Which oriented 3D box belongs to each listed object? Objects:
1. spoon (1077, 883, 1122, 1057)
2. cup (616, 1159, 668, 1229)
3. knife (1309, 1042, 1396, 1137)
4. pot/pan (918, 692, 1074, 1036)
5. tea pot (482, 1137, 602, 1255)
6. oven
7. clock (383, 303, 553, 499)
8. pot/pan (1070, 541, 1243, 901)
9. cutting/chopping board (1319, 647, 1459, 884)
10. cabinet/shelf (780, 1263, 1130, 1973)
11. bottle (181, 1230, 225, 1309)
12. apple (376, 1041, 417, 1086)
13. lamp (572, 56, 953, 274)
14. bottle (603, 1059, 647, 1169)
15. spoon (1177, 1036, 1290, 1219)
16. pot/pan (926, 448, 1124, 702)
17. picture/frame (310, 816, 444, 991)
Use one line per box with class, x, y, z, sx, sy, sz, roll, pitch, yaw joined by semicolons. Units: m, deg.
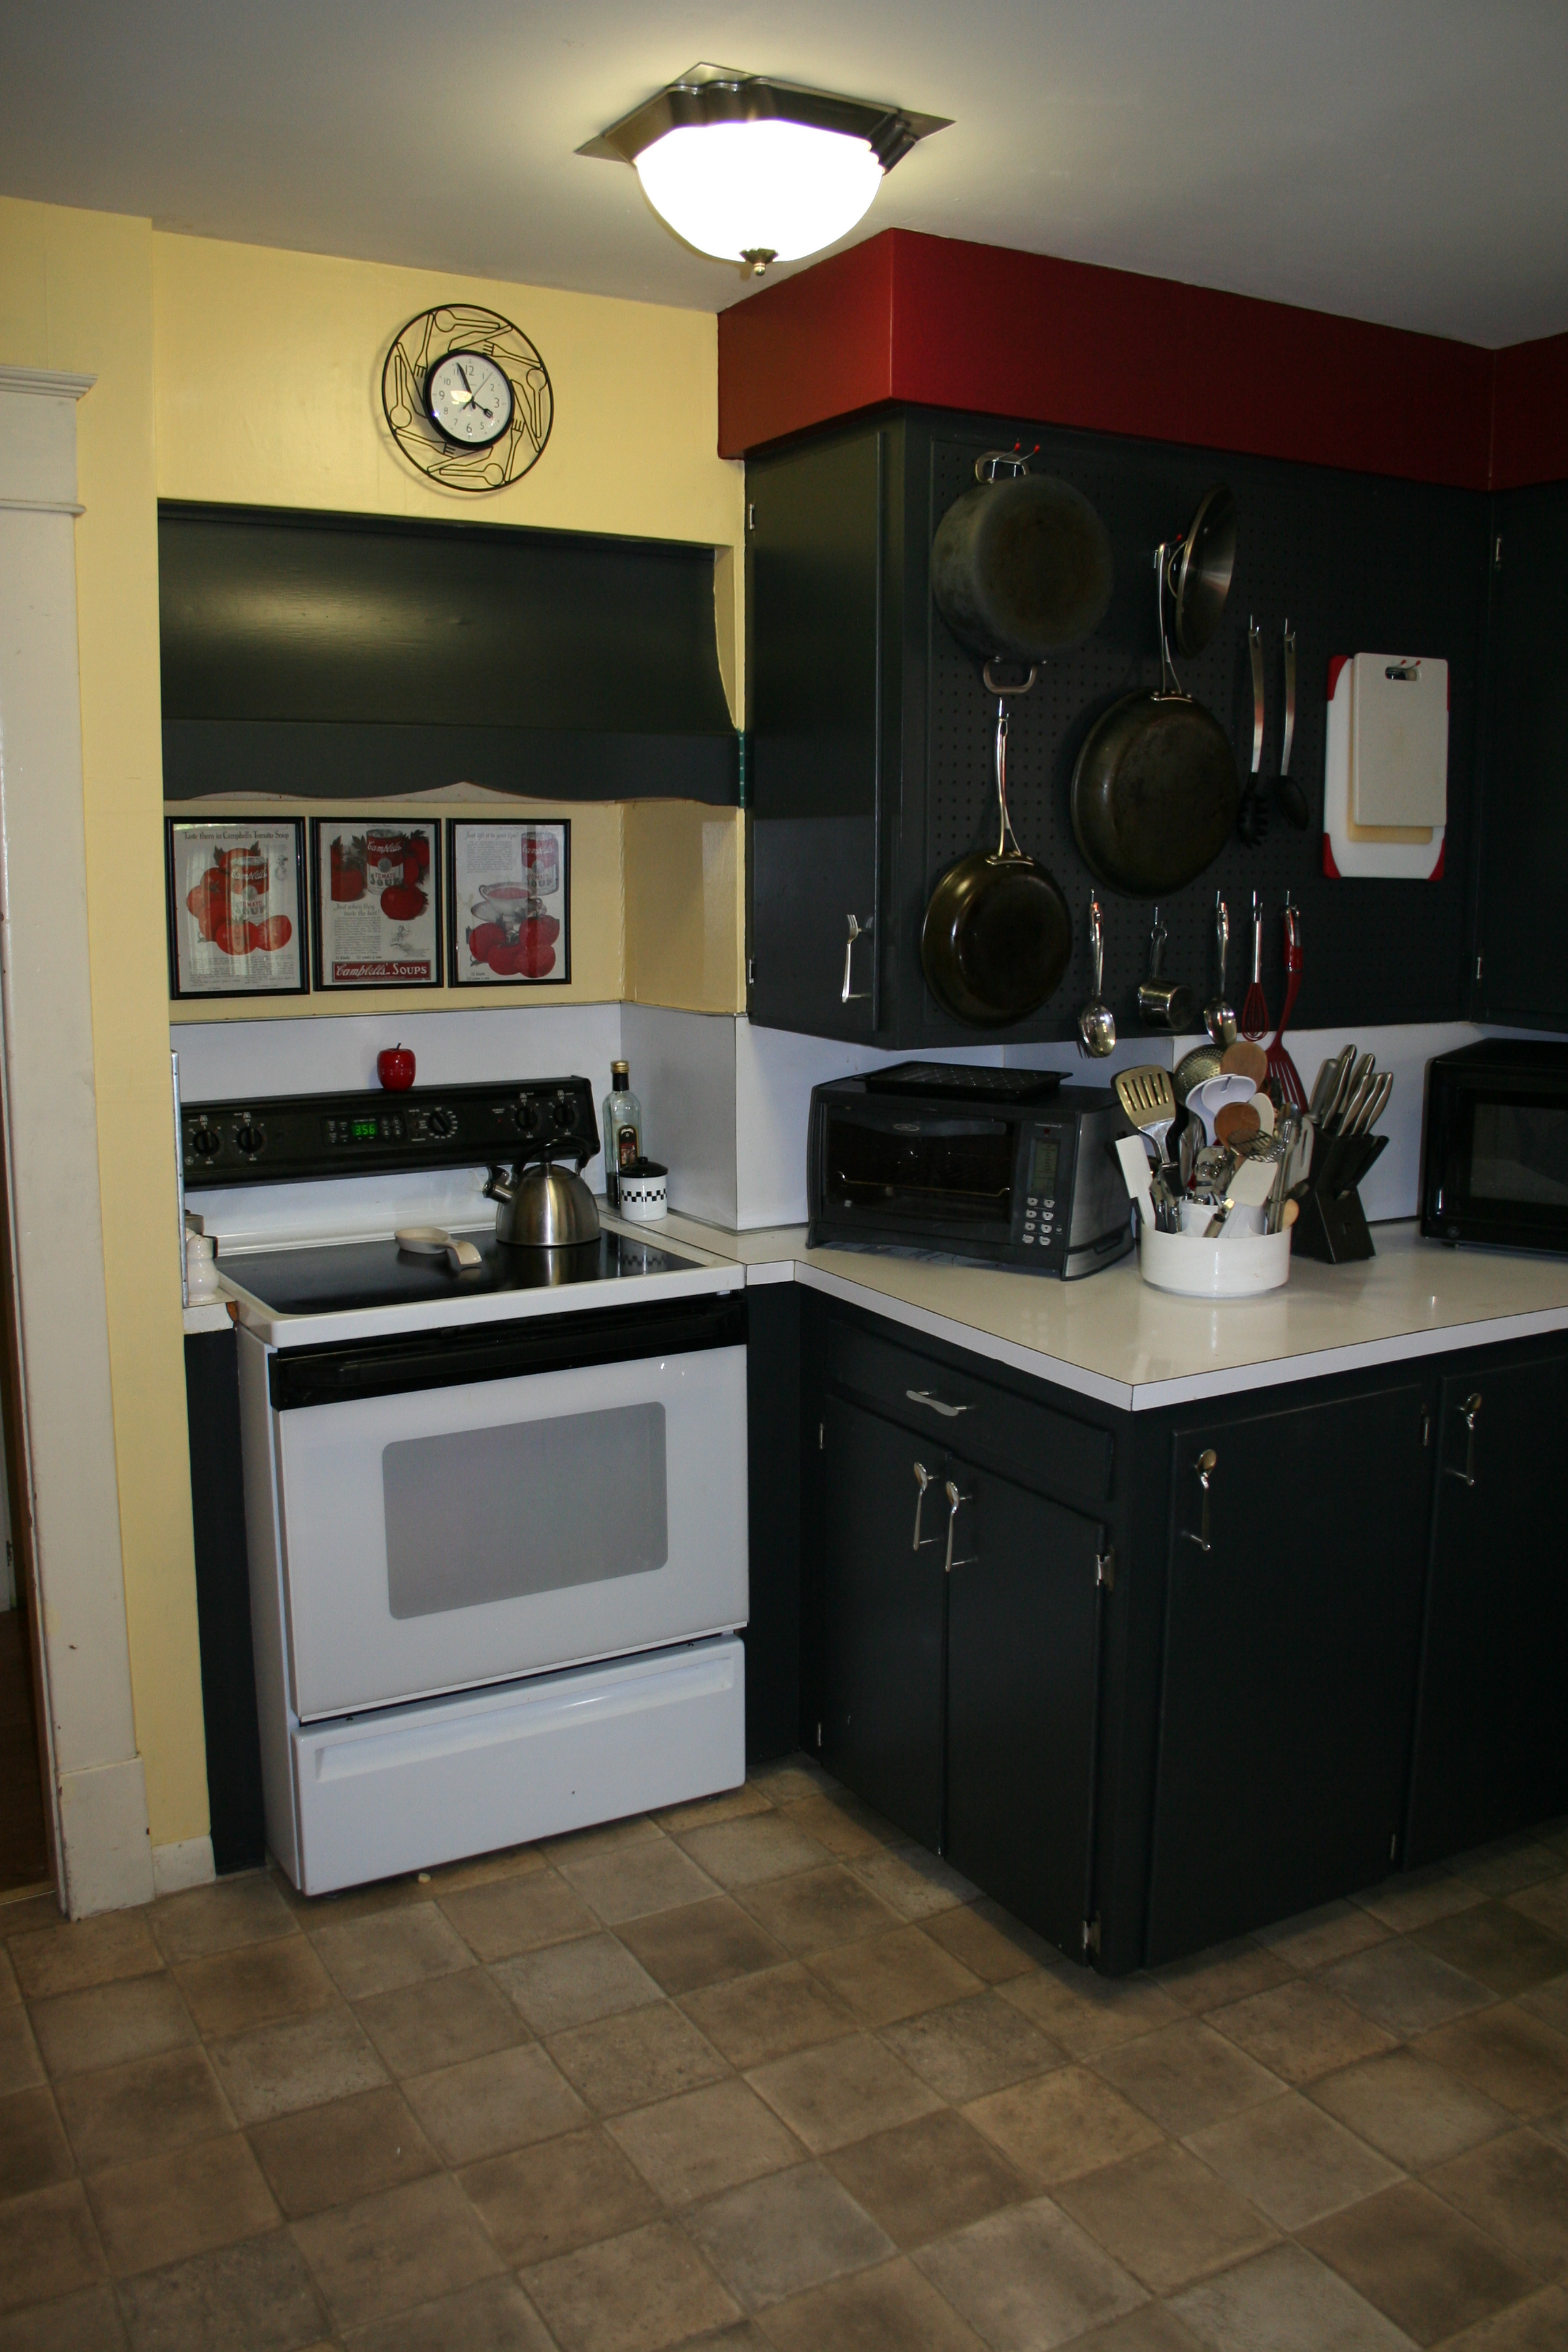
spoon;0.468;-0.301;2.527;0.052;0.231;0.031;-2;7;-9
cup;-0.242;0.036;3.010;0.094;0.110;0.096;0;5;0
knife;0.871;-0.125;2.672;0.106;0.218;0.050;10;8;18
pot/pan;0.296;-0.425;2.362;0.224;0.432;0.047;-12;15;-36
tea pot;-0.394;0.040;2.765;0.177;0.132;0.130;-3;11;-26
oven;-0.397;0.290;2.554;0.746;0.754;0.495;-5;6;-31
clock;-0.459;-1.080;2.478;0.236;0.241;0.054;-36;25;-33
pot/pan;0.513;-0.636;2.460;0.273;0.471;0.067;-9;15;-34
cutting/chopping board;0.948;-0.661;2.746;0.345;0.465;0.048;-4;8;-34
cabinet/shelf;0.333;0.554;2.448;0.354;0.776;0.635;-10;15;-36
bottle;-0.829;0.128;2.460;0.052;0.094;0.180;-2;5;-19
apple;-0.640;-0.186;2.862;0.058;0.072;0.059;5;10;-10
lamp;-0.035;-1.031;1.784;0.191;0.118;0.234;5;8;40
bottle;-0.288;-0.102;3.110;0.064;0.197;0.113;-2;5;-17
spoon;0.641;-0.056;2.464;0.156;0.270;0.209;1;5;13
pot/pan;0.312;-0.768;2.243;0.207;0.290;0.100;-7;16;-38
picture/frame;-0.683;-0.452;2.845;0.239;0.326;0.012;-13;21;-35
